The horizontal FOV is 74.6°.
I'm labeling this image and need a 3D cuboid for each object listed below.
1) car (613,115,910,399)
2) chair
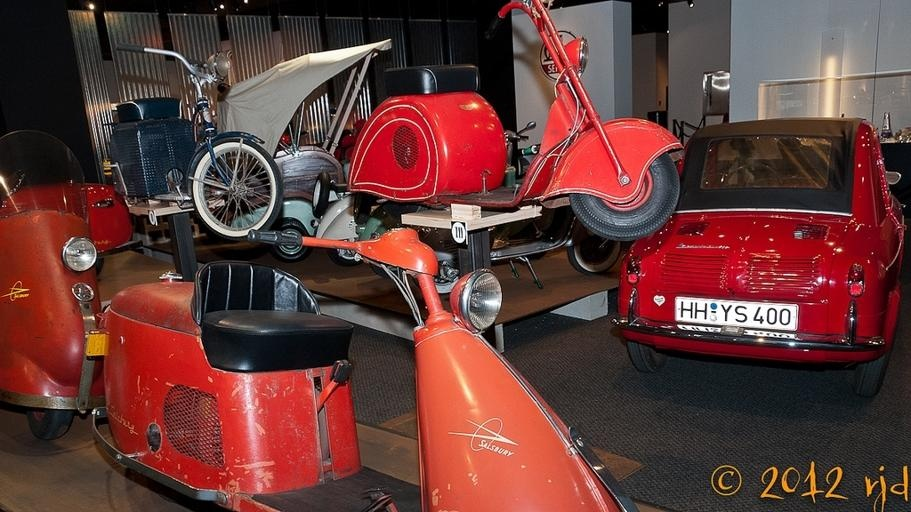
[{"bbox_3d":[2.670,-0.289,5.184,1.715,1.469,2.822,2,16,27],"label":"car"},{"bbox_3d":[-1.153,0.404,3.580,0.747,0.466,0.740,-2,7,-42],"label":"chair"}]
